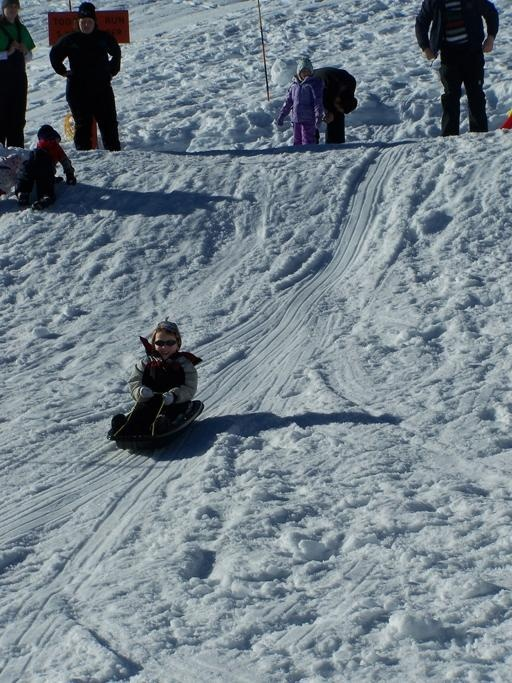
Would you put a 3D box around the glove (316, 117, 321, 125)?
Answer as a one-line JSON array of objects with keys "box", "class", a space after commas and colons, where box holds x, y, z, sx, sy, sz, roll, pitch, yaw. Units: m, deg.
[{"box": [0.606, -2.185, 9.797, 0.055, 0.086, 0.096, -4, 17, 4], "class": "glove"}]

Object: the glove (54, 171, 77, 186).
[{"box": [-1.755, -1.521, 9.118, 0.159, 0.138, 0.060, 3, 20, 16], "class": "glove"}]

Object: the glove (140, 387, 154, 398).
[{"box": [-0.669, 0.318, 5.908, 0.083, 0.072, 0.049, -8, 18, -9], "class": "glove"}]

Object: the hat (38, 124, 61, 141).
[{"box": [-1.946, -1.926, 9.118, 0.179, 0.151, 0.337, -8, 17, -12], "class": "hat"}]

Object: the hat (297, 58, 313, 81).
[{"box": [0.475, -2.749, 9.903, 0.186, 0.227, 0.214, 3, 23, 0], "class": "hat"}]

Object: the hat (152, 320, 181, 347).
[{"box": [-0.552, -0.030, 6.012, 0.145, 0.164, 0.165, -2, 26, -2], "class": "hat"}]

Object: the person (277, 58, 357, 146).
[{"box": [0.705, -2.426, 9.993, 0.635, 0.589, 1.193, -5, 10, -19], "class": "person"}]

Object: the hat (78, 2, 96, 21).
[{"box": [-1.602, -3.106, 9.225, 0.167, 0.184, 0.198, 1, 28, -7], "class": "hat"}]

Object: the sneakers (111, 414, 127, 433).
[{"box": [-0.825, 0.480, 5.830, 0.099, 0.073, 0.176, -7, 16, -7], "class": "sneakers"}]

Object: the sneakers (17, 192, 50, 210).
[{"box": [-2.027, -1.288, 8.985, 0.300, 0.151, 0.281, 1, 17, 19], "class": "sneakers"}]

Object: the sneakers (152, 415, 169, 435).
[{"box": [-0.578, 0.491, 5.743, 0.071, 0.036, 0.109, 6, 41, 10], "class": "sneakers"}]
